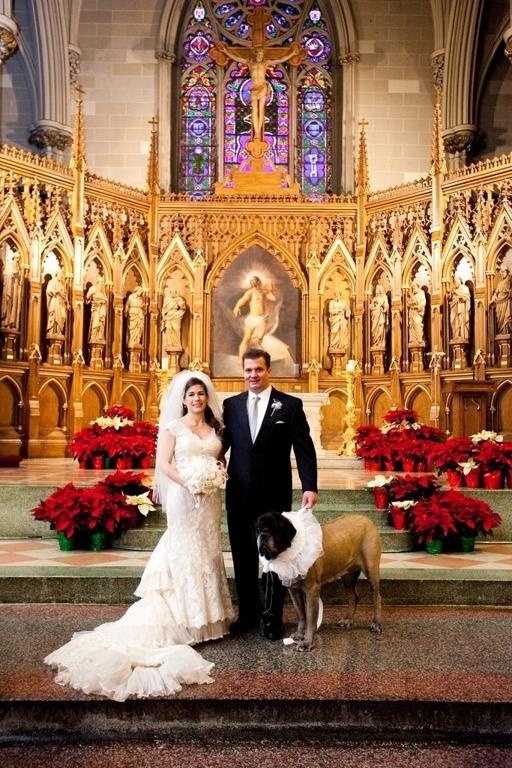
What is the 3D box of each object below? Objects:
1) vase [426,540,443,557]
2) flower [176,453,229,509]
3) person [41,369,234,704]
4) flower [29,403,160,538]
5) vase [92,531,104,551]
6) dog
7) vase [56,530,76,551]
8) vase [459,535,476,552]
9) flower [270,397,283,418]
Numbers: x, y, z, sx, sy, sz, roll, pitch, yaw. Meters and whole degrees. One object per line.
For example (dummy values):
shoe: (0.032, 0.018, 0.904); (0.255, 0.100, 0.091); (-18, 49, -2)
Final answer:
vase: (1.282, 1.144, 6.041); (0.111, 0.115, 0.144); (0, 0, 13)
flower: (-0.255, 0.490, 4.326); (0.236, 0.249, 0.246); (1, -19, 4)
person: (-0.503, 0.666, 4.169); (0.899, 1.395, 1.141); (3, 4, 25)
flower: (-1.515, 0.772, 7.800); (0.815, 0.255, 0.824); (-10, 21, -30)
vase: (-1.120, 1.110, 6.061); (0.119, 0.130, 0.118); (0, -15, -6)
dog: (0.331, 0.963, 4.310); (0.798, 0.676, 0.340); (0, -3, -36)
vase: (-1.337, 1.103, 5.999); (0.130, 0.137, 0.137); (1, -8, -3)
vase: (1.536, 1.144, 6.126); (0.112, 0.098, 0.120); (1, -5, -22)
flower: (0.114, 0.122, 4.524); (0.063, 0.095, 0.024); (8, -8, 5)
